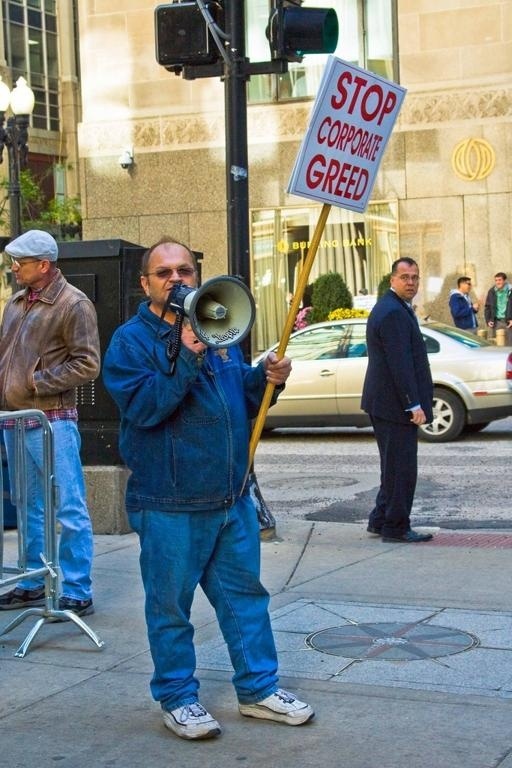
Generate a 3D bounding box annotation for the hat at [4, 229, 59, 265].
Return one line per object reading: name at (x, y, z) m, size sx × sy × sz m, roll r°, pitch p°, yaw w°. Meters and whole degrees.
hat at (-1.094, -0.672, 4.882) m, size 0.229 × 0.165 × 0.235 m, roll -2°, pitch 3°, yaw -16°

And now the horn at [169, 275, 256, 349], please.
horn at (-0.160, -0.236, 3.107) m, size 0.207 × 0.212 × 0.315 m, roll -13°, pitch 16°, yaw -26°

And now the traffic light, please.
traffic light at (0.297, -2.214, 6.254) m, size 0.531 × 0.429 × 0.283 m, roll 0°, pitch 3°, yaw 36°

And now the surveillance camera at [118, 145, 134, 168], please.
surveillance camera at (-2.948, -5.094, 22.453) m, size 0.344 × 0.516 × 0.249 m, roll -1°, pitch 3°, yaw 10°
